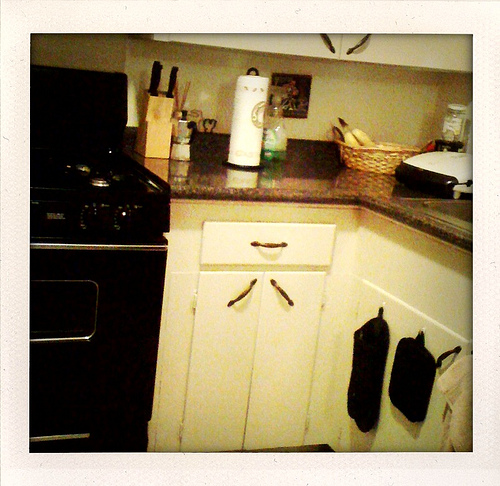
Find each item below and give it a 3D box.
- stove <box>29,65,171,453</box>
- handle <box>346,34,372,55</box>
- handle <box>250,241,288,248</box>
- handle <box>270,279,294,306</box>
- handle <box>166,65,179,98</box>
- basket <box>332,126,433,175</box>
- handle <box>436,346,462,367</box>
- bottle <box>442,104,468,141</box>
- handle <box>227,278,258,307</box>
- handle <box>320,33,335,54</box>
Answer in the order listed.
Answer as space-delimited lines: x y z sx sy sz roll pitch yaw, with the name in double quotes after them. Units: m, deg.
-0.361 0.037 1.099 0.318 0.899 0.273 4 8 -12 "stove"
0.241 -0.445 1.012 0.011 0.082 0.022 55 9 32 "handle"
0.039 0.002 1.036 0.071 0.016 0.012 0 11 -15 "handle"
0.074 0.116 1.089 0.012 0.065 0.012 -30 3 11 "handle"
-0.177 -0.369 1.034 0.021 0.070 0.029 3 9 -22 "handle"
0.309 -0.212 1.050 0.157 0.075 0.123 2 22 0 "basket"
0.443 0.251 1.025 0.026 0.067 0.018 45 13 4 "handle"
0.463 -0.275 1.027 0.045 0.082 0.014 6 8 -2 "bottle"
-0.022 0.113 1.064 0.013 0.073 0.010 39 -4 -29 "handle"
0.171 -0.448 1.008 0.013 0.037 0.006 -25 2 10 "handle"
